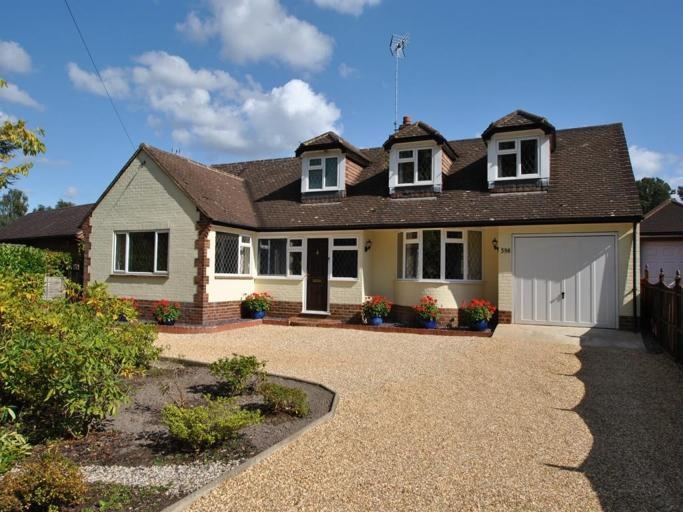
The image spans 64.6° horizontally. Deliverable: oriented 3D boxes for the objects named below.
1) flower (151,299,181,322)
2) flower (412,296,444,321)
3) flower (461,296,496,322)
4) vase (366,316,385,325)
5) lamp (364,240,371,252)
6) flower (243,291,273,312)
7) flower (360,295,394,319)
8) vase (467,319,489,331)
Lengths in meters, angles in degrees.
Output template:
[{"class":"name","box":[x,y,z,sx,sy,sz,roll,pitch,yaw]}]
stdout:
[{"class":"flower","box":[-6.429,2.087,19.976,0.778,0.639,0.820,4,-5,-17]},{"class":"flower","box":[3.138,1.860,19.602,0.750,0.922,0.847,0,4,5]},{"class":"flower","box":[4.785,1.896,18.886,0.815,0.828,0.889,1,-1,3]},{"class":"vase","box":[1.294,2.429,20.056,0.361,0.253,0.376,5,-7,-25]},{"class":"lamp","box":[1.069,-0.391,21.241,0.101,0.484,0.761,6,15,23]},{"class":"flower","box":[-3.288,1.850,21.560,0.752,0.610,0.819,3,-8,-10]},{"class":"flower","box":[1.302,1.960,20.191,1.025,0.821,0.676,1,14,2]},{"class":"vase","box":[4.724,2.387,18.693,0.411,0.285,0.480,0,-11,4]}]
